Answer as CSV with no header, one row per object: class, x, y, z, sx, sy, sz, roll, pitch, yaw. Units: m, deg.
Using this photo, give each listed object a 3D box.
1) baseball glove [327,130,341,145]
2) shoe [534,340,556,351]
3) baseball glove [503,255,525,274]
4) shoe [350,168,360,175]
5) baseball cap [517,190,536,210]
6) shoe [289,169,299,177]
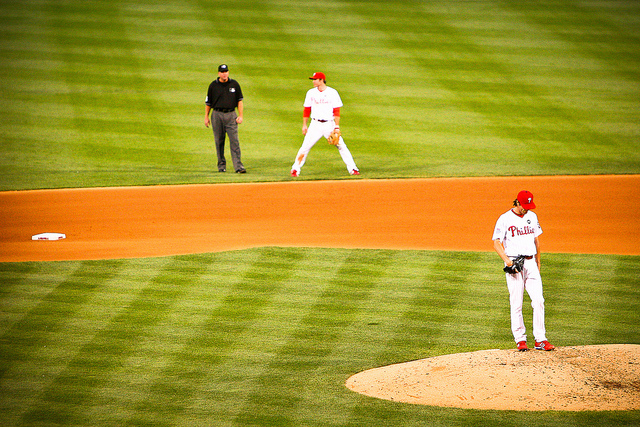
baseball glove,0.297,-1.900,24.838,0.329,0.331,0.152,22,1,-27
shoe,4.279,2.505,18.837,0.392,0.123,0.154,0,5,20
baseball glove,3.725,0.968,18.941,0.370,0.354,0.187,0,7,12
shoe,0.868,-1.070,25.409,0.207,0.049,0.165,-1,-26,10
baseball cap,3.995,-0.253,19.058,0.315,0.202,0.420,-21,45,-34
shoe,-0.680,-1.044,25.361,0.194,0.158,0.207,4,9,-5
